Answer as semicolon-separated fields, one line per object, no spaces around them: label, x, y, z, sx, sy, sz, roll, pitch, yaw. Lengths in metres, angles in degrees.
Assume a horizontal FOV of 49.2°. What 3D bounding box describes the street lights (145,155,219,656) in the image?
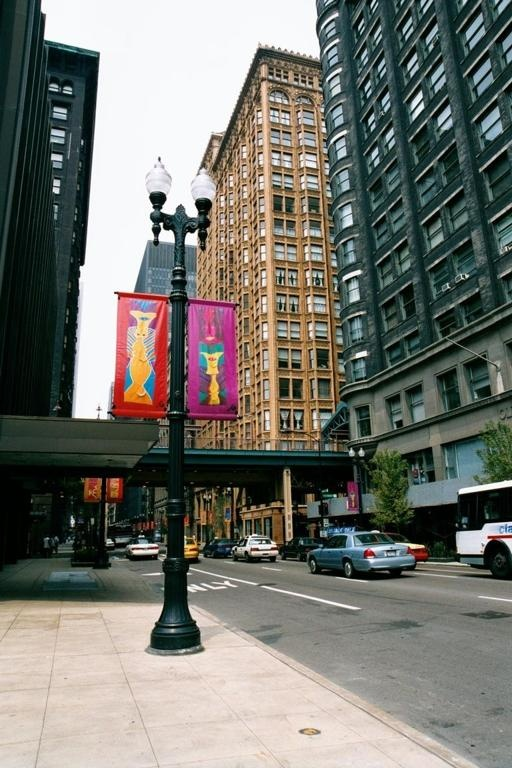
street lights;-1.134;-0.021;8.319;0.820;7.455;0.887;-10;-13;40
